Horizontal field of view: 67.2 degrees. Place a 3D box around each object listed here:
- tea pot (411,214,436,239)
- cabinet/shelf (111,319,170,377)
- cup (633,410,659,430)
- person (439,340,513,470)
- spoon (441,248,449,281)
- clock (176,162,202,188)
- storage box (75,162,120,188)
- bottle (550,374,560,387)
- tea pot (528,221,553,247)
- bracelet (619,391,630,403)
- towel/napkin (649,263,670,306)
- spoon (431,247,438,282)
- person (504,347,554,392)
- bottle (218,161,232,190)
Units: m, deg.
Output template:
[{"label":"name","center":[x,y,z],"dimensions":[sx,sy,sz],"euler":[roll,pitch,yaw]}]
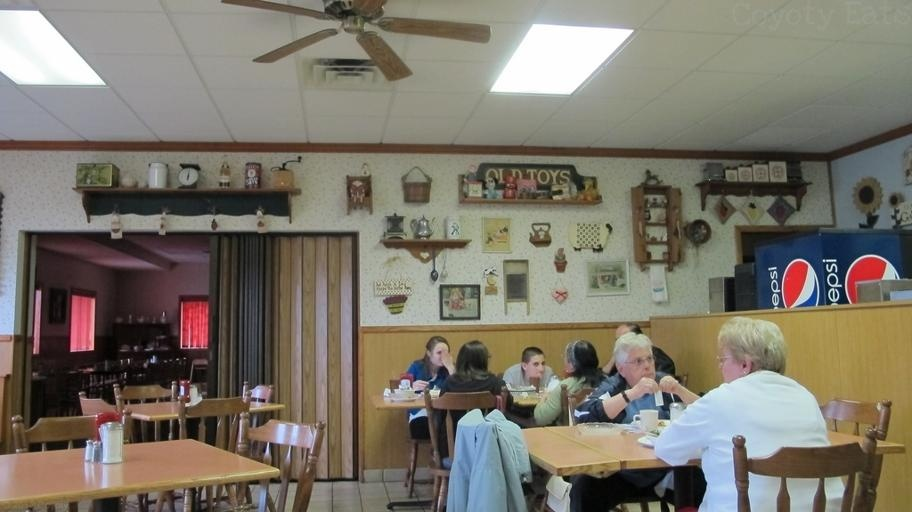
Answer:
[{"label":"tea pot","center":[-0.445,-0.384,9.030],"dimensions":[0.307,0.346,0.177],"euler":[0,-8,-4]},{"label":"cabinet/shelf","center":[-6.657,1.957,14.438],"dimensions":[1.143,0.917,0.347],"euler":[1,-13,-13]},{"label":"cup","center":[1.614,1.430,5.995],"dimensions":[0.245,0.159,0.155],"euler":[-1,-2,-1]},{"label":"person","center":[0.181,1.569,7.501],"dimensions":[0.801,1.247,0.702],"euler":[0,7,-39]},{"label":"spoon","center":[-0.151,0.110,9.115],"dimensions":[0.110,0.393,0.024],"euler":[-1,-8,0]},{"label":"clock","center":[-3.423,-1.052,8.812],"dimensions":[0.294,0.346,0.186],"euler":[1,-8,-13]},{"label":"storage box","center":[-4.521,-1.022,8.640],"dimensions":[0.618,0.298,0.386],"euler":[2,-2,-9]},{"label":"bottle","center":[1.109,1.371,7.509],"dimensions":[0.133,0.149,0.165],"euler":[0,-12,-1]},{"label":"tea pot","center":[1.116,-0.301,9.268],"dimensions":[0.370,0.315,0.187],"euler":[1,-9,-7]},{"label":"bracelet","center":[1.481,1.241,6.030],"dimensions":[0.031,0.090,0.096],"euler":[-18,24,-12]},{"label":"towel/napkin","center":[2.763,0.365,9.393],"dimensions":[0.285,0.537,0.082],"euler":[2,-8,-17]},{"label":"spoon","center":[-0.290,0.135,9.086],"dimensions":[0.107,0.391,0.069],"euler":[0,0,-3]},{"label":"person","center":[0.908,1.334,8.239],"dimensions":[0.777,0.405,0.531],"euler":[-5,-1,-7]},{"label":"bottle","center":[-2.969,-1.059,8.839],"dimensions":[0.155,0.379,0.200],"euler":[2,-8,-19]}]
